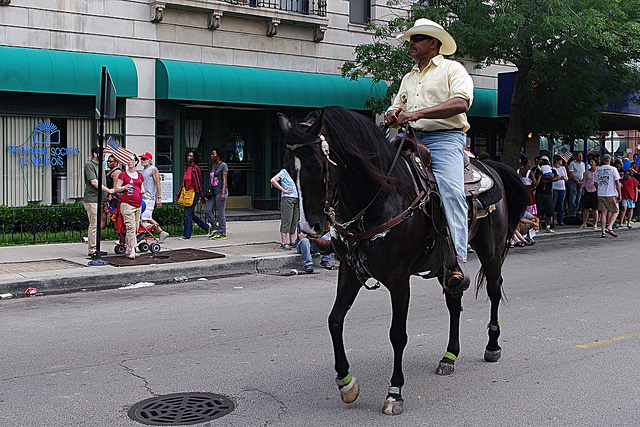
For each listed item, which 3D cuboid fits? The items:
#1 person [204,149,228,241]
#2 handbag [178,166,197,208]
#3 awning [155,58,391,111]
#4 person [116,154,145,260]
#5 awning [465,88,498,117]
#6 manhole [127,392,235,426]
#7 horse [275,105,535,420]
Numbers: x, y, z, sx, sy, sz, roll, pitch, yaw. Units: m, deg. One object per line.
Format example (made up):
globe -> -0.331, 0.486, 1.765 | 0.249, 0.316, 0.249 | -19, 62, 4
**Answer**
person -> -2.944, -0.581, 17.434 | 0.613, 2.424, 1.561 | -1, 8, -11
handbag -> -3.718, -0.779, 17.438 | 0.466, 1.111, 0.518 | 0, 8, -2
awning -> -1.332, -4.389, 21.982 | 9.005, 1.650, 1.623 | -3, -6, -34
person -> -4.343, -0.138, 14.114 | 0.567, 2.257, 1.066 | -2, 8, -16
awning -> 6.779, -4.644, 25.586 | 1.935, 1.168, 0.686 | -7, 10, -41
manhole -> -1.557, 2.212, 6.937 | 1.153, 0.074, 0.664 | -1, 9, -11
horse -> 1.206, 0.380, 7.822 | 2.233, 3.404, 3.930 | 4, 9, 24
